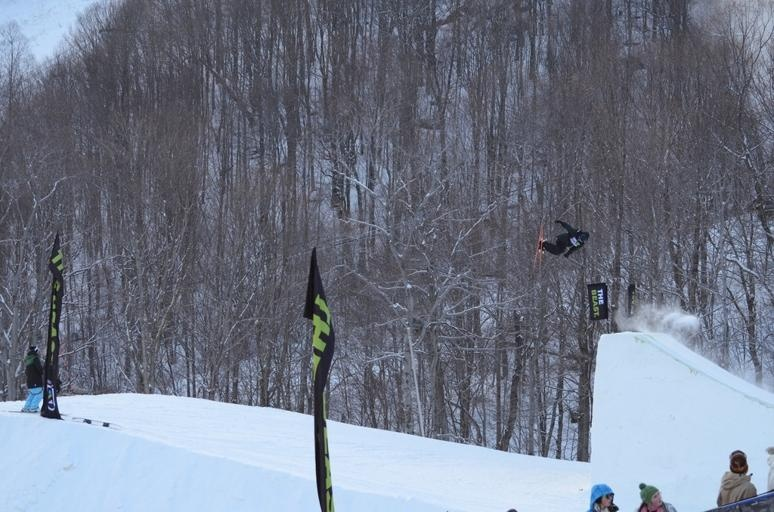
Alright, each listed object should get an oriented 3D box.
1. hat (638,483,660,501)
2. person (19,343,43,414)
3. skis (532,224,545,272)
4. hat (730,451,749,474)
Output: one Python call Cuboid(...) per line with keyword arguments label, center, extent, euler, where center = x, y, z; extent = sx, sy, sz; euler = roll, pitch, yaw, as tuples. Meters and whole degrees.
Cuboid(label="hat", center=(11.038, 9.890, 55.675), extent=(0.765, 0.726, 0.610), euler=(-24, 22, 34))
Cuboid(label="person", center=(-16.523, 5.762, 61.775), extent=(0.842, 3.074, 1.189), euler=(0, -5, -18))
Cuboid(label="skis", center=(8.357, -0.288, 72.798), extent=(0.208, 2.744, 0.256), euler=(4, -18, 4))
Cuboid(label="hat", center=(15.016, 8.760, 56.408), extent=(0.660, 1.021, 0.953), euler=(0, 39, 13))
